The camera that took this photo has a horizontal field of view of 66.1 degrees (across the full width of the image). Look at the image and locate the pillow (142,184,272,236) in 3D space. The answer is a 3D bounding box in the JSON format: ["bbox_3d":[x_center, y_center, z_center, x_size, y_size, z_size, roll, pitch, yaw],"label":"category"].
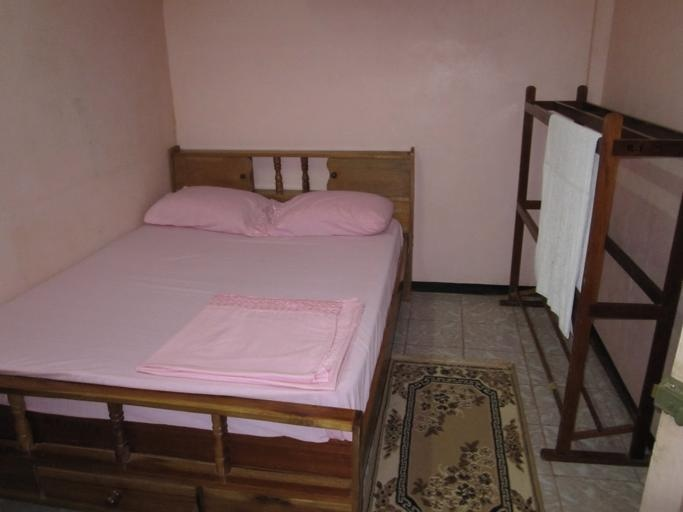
[{"bbox_3d":[-0.888,-0.309,3.585,0.566,0.143,0.438,6,37,7],"label":"pillow"}]

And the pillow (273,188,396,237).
[{"bbox_3d":[-0.054,-0.274,3.491,0.507,0.142,0.408,1,35,5],"label":"pillow"}]
